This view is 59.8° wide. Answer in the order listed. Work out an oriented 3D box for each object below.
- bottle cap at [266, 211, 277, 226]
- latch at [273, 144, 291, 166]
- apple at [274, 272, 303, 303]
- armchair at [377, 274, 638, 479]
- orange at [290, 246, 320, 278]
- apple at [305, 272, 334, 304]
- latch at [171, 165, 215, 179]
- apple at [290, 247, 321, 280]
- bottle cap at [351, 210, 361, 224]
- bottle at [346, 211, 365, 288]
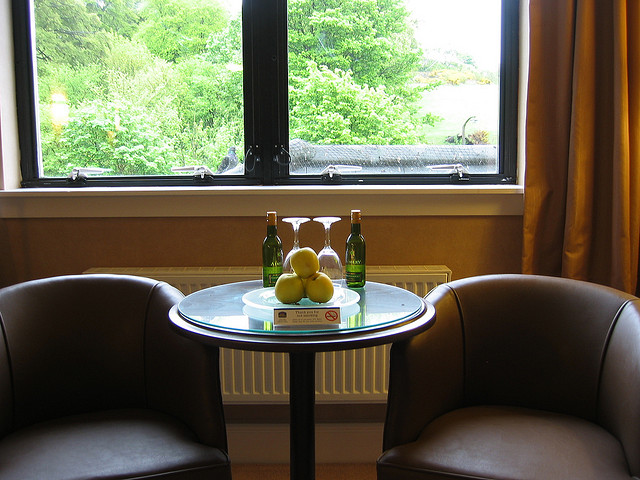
[{"bbox_3d":[-0.191,-0.087,2.142,0.051,0.063,0.054,0,5,12],"label":"bottle cap"},{"bbox_3d":[-0.198,-0.428,2.791,0.071,0.098,0.023,1,12,1],"label":"latch"},{"bbox_3d":[-0.101,0.176,1.901,0.099,0.109,0.102,5,-5,0],"label":"apple"},{"bbox_3d":[0.644,0.486,2.026,0.741,0.856,0.728,2,18,14],"label":"armchair"},{"bbox_3d":[-0.051,0.078,1.950,0.092,0.107,0.093,-26,-4,27],"label":"orange"},{"bbox_3d":[-0.001,0.176,1.911,0.102,0.109,0.097,5,-1,-42],"label":"apple"},{"bbox_3d":[-0.648,-0.348,2.818,0.211,0.060,0.063,4,14,19],"label":"latch"},{"bbox_3d":[-0.048,0.091,1.935,0.089,0.093,0.090,-5,-7,-24],"label":"apple"},{"bbox_3d":[0.140,-0.090,2.151,0.032,0.051,0.051,-2,13,-3],"label":"bottle cap"},{"bbox_3d":[0.136,0.032,2.153,0.071,0.291,0.079,0,13,2],"label":"bottle"}]
